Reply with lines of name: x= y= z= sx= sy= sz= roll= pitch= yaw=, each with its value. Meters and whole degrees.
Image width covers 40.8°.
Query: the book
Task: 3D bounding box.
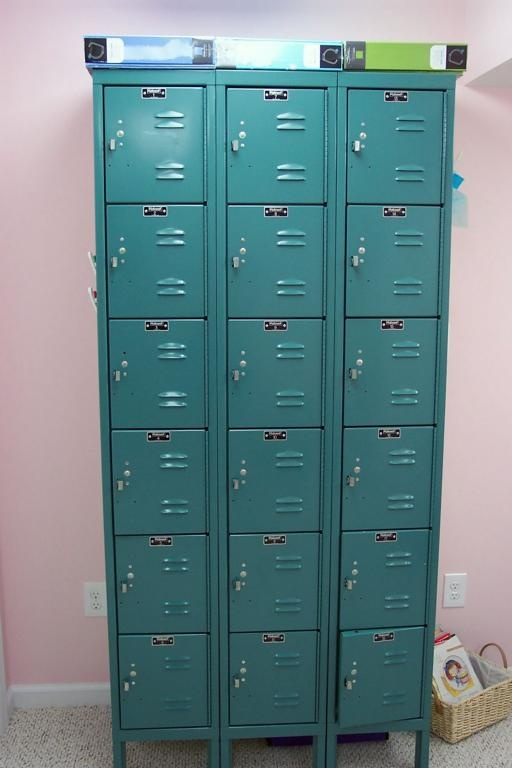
book: x=0.663 y=0.944 z=2.296 sx=0.181 sy=0.084 sz=0.228 roll=-2 pitch=3 yaw=-14
